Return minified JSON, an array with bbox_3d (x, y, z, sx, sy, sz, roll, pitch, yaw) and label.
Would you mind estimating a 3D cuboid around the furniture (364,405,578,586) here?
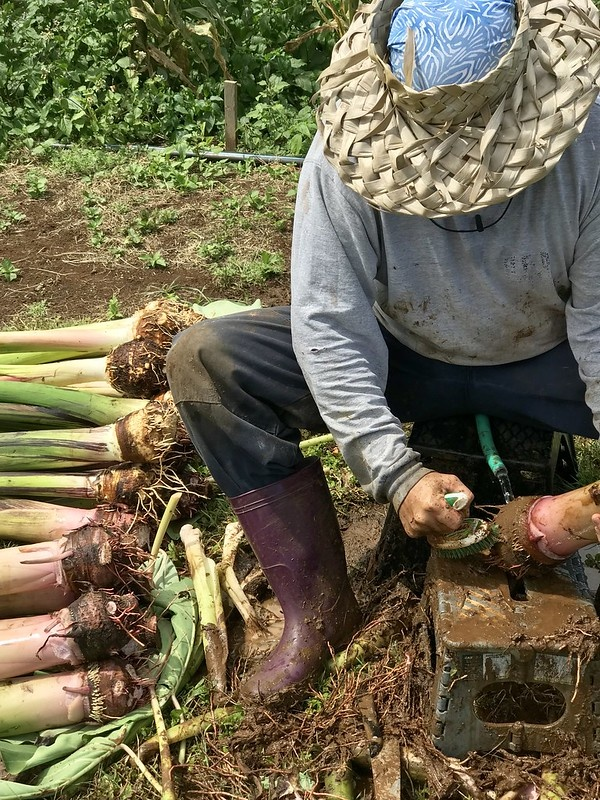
[{"bbox_3d":[0.543,0.345,2.471,0.655,0.521,0.545,0,52,7],"label":"furniture"}]
